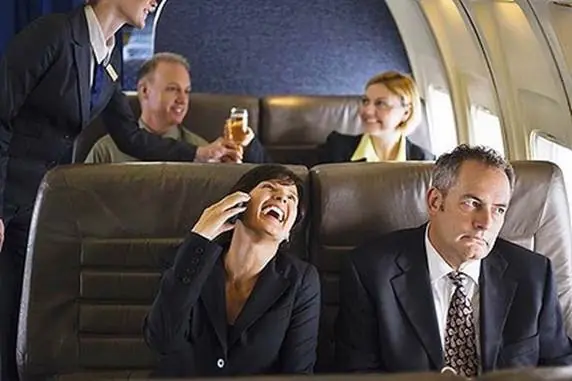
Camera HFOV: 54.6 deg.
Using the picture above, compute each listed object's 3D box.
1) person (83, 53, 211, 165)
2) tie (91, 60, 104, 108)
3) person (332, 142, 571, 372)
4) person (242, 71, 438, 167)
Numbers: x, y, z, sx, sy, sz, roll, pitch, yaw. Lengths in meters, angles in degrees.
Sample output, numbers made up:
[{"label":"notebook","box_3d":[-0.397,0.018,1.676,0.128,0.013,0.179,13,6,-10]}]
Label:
[{"label":"person","box_3d":[-0.918,-0.532,3.955,1.079,0.896,0.524,-4,14,-45]},{"label":"tie","box_3d":[-0.947,-0.532,2.801,0.051,0.244,0.059,7,11,-27]},{"label":"person","box_3d":[0.706,0.322,2.407,0.934,0.925,0.515,4,-3,-3]},{"label":"person","box_3d":[0.426,-0.414,4.080,1.159,1.072,0.846,1,-2,-7]}]
